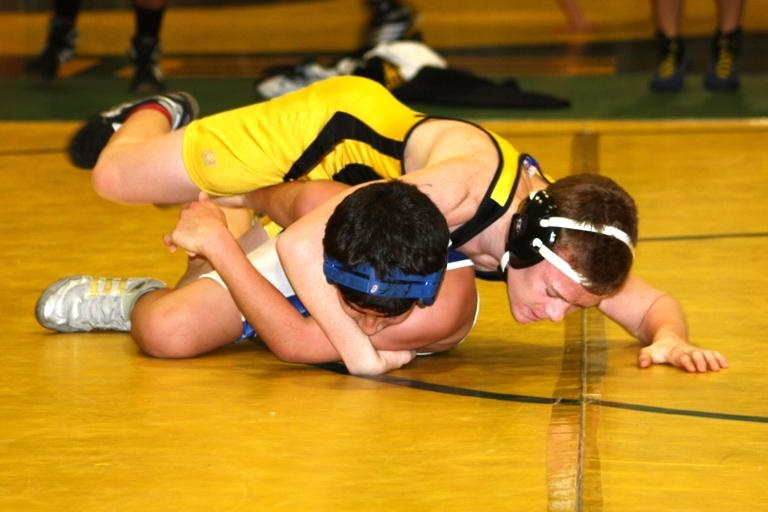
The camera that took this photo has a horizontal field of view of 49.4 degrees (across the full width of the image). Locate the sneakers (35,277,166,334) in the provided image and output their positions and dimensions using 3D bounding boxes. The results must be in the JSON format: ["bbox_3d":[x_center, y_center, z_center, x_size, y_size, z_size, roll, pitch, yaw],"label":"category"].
[{"bbox_3d":[-0.855,0.139,2.628,0.436,0.126,0.173,-3,9,-20],"label":"sneakers"}]

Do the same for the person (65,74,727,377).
[{"bbox_3d":[-0.064,-0.165,2.669,2.302,0.527,0.999,18,15,21],"label":"person"}]
